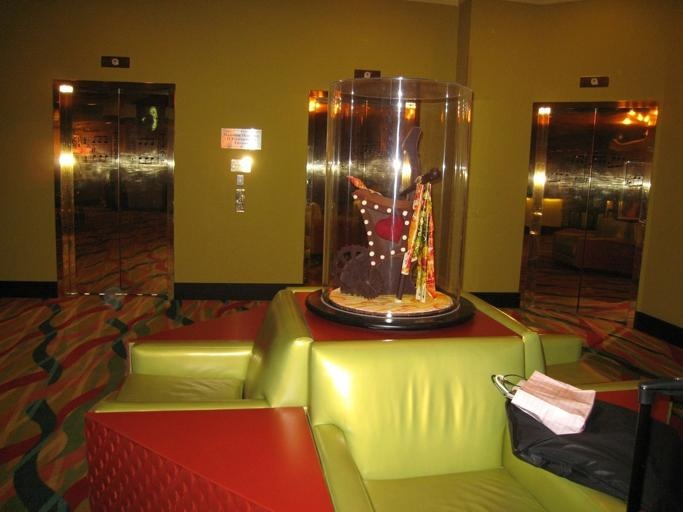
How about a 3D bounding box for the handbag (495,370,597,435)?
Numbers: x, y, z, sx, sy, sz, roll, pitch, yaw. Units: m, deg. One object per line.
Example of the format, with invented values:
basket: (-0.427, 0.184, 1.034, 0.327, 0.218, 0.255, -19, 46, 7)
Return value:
handbag: (0.815, 0.499, 2.024, 0.275, 0.093, 0.243, 23, 20, 40)
